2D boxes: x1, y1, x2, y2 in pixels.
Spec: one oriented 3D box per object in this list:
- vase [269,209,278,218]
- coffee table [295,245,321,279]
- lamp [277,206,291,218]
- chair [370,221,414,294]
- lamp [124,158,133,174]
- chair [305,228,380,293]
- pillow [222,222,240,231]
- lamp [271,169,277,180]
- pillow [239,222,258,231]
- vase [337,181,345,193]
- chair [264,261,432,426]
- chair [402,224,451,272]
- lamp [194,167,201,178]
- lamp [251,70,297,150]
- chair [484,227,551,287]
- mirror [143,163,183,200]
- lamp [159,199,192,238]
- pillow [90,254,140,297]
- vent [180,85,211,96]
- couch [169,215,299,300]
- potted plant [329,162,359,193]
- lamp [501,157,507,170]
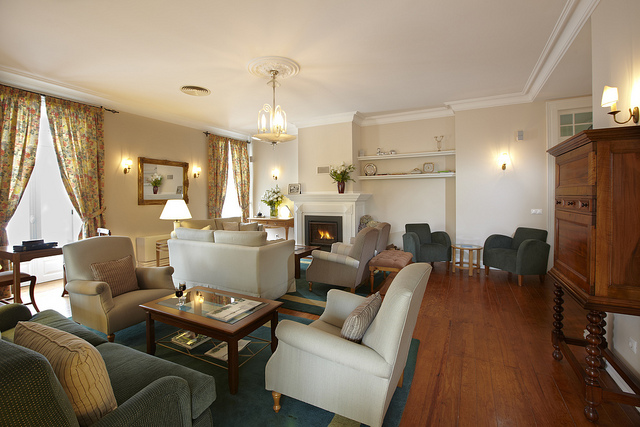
[{"bbox_3d":[-1.241,-0.003,10.224,0.195,0.220,0.200,3,-4,-14],"label":"vase"},{"bbox_3d":[-0.262,0.852,6.972,0.449,0.339,0.666,0,0,25],"label":"coffee table"},{"bbox_3d":[-0.970,-0.053,10.125,0.266,0.226,0.308,-2,9,-2],"label":"lamp"},{"bbox_3d":[1.230,0.783,7.000,0.581,1.185,1.293,-1,0,16],"label":"chair"},{"bbox_3d":[-3.783,-0.960,7.638,0.072,0.316,0.197,1,5,23],"label":"lamp"},{"bbox_3d":[0.415,0.755,6.674,1.138,1.152,1.150,3,5,12],"label":"chair"},{"bbox_3d":[-1.855,0.266,7.994,0.224,0.088,0.229,4,13,-6],"label":"pillow"},{"bbox_3d":[-1.244,-1.064,10.302,0.187,0.275,0.068,3,6,43],"label":"lamp"},{"bbox_3d":[-1.491,0.276,8.078,0.438,0.155,0.305,-3,4,-24],"label":"pillow"},{"bbox_3d":[0.473,-0.602,8.718,0.198,0.334,0.207,-5,8,-33],"label":"vase"},{"bbox_3d":[0.469,1.183,4.611,1.670,2.086,1.502,5,2,25],"label":"chair"},{"bbox_3d":[2.118,0.651,7.802,0.901,0.862,0.922,-2,1,3],"label":"chair"},{"bbox_3d":[-2.885,-0.983,9.081,0.079,0.238,0.208,0,5,20],"label":"lamp"},{"bbox_3d":[-0.875,-2.042,7.312,1.064,1.768,1.106,0,-2,7],"label":"lamp"},{"bbox_3d":[3.549,0.724,6.984,0.882,0.906,0.897,-2,6,-34],"label":"chair"},{"bbox_3d":[-3.357,-0.696,8.316,0.043,0.748,0.970,2,5,32],"label":"mirror"},{"bbox_3d":[-2.793,0.065,7.466,0.493,0.802,0.507,4,11,-15],"label":"lamp"},{"bbox_3d":[-2.721,0.832,5.057,0.176,0.484,0.500,-24,-11,29],"label":"pillow"},{"bbox_3d":[-2.261,-2.263,6.974,0.495,0.079,0.469,-4,5,-39],"label":"vent"},{"bbox_3d":[-1.096,0.684,6.519,1.922,1.194,1.461,1,7,25],"label":"couch"},{"bbox_3d":[0.555,-0.823,8.722,0.647,0.681,0.563,3,0,-24],"label":"potted plant"},{"bbox_3d":[3.548,-0.984,7.445,0.100,0.232,0.058,1,5,25],"label":"lamp"}]
